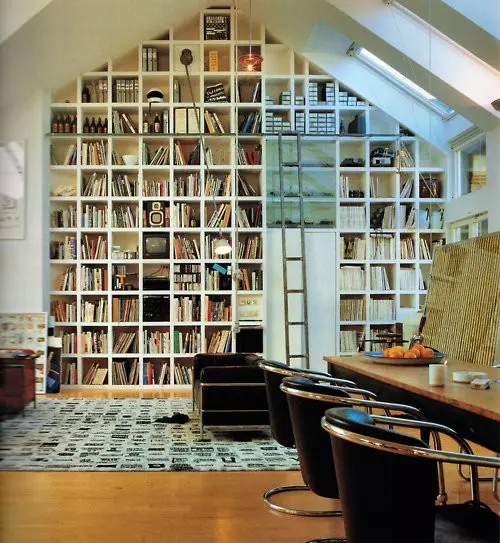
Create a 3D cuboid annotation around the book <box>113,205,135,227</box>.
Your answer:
[{"bbox_3d":[-1.557,-0.642,7.173,0.260,0.381,0.276,0,1,-1],"label":"book"}]

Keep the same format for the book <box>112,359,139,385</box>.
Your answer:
[{"bbox_3d":[-1.522,1.202,7.115,0.245,0.330,0.112,0,1,-10],"label":"book"}]

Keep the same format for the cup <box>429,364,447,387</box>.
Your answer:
[{"bbox_3d":[0.716,0.399,2.300,0.091,0.088,0.068,3,-3,-8],"label":"cup"}]

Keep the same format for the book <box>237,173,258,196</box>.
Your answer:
[{"bbox_3d":[-0.077,-1.044,7.246,0.065,0.292,0.286,-10,-4,13],"label":"book"}]

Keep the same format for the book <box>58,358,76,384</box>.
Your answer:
[{"bbox_3d":[-2.192,1.195,7.060,0.057,0.253,0.248,2,0,-5],"label":"book"}]

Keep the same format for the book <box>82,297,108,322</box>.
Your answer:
[{"bbox_3d":[-1.897,0.470,7.079,0.353,0.261,0.137,0,-3,1],"label":"book"}]

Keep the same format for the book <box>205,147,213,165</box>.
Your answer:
[{"bbox_3d":[-0.515,-1.393,7.171,0.043,0.189,0.145,0,3,19],"label":"book"}]

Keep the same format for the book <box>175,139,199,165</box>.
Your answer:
[{"bbox_3d":[-0.810,-1.439,7.292,0.297,0.313,0.078,1,-2,-14],"label":"book"}]

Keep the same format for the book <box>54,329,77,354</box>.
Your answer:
[{"bbox_3d":[-2.202,0.835,7.000,0.222,0.303,0.309,0,-2,-2],"label":"book"}]

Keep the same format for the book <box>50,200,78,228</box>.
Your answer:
[{"bbox_3d":[-2.295,-0.682,7.191,0.315,0.333,0.337,1,-3,-14],"label":"book"}]

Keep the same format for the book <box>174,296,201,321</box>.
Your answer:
[{"bbox_3d":[-0.771,0.455,7.053,0.262,0.356,0.359,0,-5,-10],"label":"book"}]

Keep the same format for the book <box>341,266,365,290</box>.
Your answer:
[{"bbox_3d":[1.217,0.093,7.236,0.335,0.345,0.251,0,-8,-2],"label":"book"}]

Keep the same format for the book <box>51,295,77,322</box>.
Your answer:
[{"bbox_3d":[-2.275,0.445,7.153,0.281,0.297,0.104,1,-4,-8],"label":"book"}]

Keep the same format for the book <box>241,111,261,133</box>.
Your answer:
[{"bbox_3d":[0.004,-1.781,7.161,0.085,0.298,0.214,15,-18,-22],"label":"book"}]

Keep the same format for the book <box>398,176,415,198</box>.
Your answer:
[{"bbox_3d":[1.933,-1.032,7.255,0.057,0.239,0.173,10,-1,-38],"label":"book"}]

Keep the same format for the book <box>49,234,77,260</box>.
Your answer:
[{"bbox_3d":[-2.268,-0.261,7.066,0.249,0.354,0.344,-1,-1,-6],"label":"book"}]

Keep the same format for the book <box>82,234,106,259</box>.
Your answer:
[{"bbox_3d":[-1.902,-0.270,7.114,0.283,0.309,0.109,-1,-7,-6],"label":"book"}]

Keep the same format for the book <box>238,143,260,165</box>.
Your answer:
[{"bbox_3d":[-0.023,-1.387,7.239,0.252,0.335,0.339,0,-1,-3],"label":"book"}]

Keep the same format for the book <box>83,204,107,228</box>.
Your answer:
[{"bbox_3d":[-1.908,-0.644,7.159,0.253,0.349,0.349,0,-1,-3],"label":"book"}]

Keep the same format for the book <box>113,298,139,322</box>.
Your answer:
[{"bbox_3d":[-1.516,0.457,7.058,0.310,0.275,0.109,1,-3,-12],"label":"book"}]

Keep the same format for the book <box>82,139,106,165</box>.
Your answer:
[{"bbox_3d":[-1.921,-1.427,7.167,0.269,0.370,0.370,0,-2,-10],"label":"book"}]

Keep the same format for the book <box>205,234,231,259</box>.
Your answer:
[{"bbox_3d":[-0.373,-0.318,6.856,0.317,0.311,0.870,0,-2,-6],"label":"book"}]

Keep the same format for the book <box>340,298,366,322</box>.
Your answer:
[{"bbox_3d":[1.239,0.459,7.104,0.238,0.336,0.339,0,-1,8],"label":"book"}]

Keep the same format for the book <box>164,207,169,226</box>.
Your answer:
[{"bbox_3d":[-1.035,-0.669,7.155,0.066,0.200,0.204,0,-7,-7],"label":"book"}]

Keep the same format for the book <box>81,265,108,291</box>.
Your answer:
[{"bbox_3d":[-1.906,0.082,7.081,0.261,0.360,0.359,0,-1,-13],"label":"book"}]

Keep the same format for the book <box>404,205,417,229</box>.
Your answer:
[{"bbox_3d":[1.961,-0.657,7.232,0.078,0.228,0.213,6,8,-15],"label":"book"}]

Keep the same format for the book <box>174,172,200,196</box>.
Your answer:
[{"bbox_3d":[-0.785,-1.031,7.169,0.256,0.342,0.350,0,2,-10],"label":"book"}]

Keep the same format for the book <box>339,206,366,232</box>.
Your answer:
[{"bbox_3d":[1.255,-0.646,7.200,0.256,0.351,0.363,0,1,6],"label":"book"}]

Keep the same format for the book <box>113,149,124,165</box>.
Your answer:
[{"bbox_3d":[-1.681,-1.410,7.316,0.181,0.227,0.175,1,7,5],"label":"book"}]

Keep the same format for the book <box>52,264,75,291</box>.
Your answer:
[{"bbox_3d":[-2.257,0.074,7.113,0.281,0.296,0.077,-2,-9,40],"label":"book"}]

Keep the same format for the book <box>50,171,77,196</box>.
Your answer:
[{"bbox_3d":[-2.346,-1.062,7.284,0.316,0.350,0.307,-1,7,-26],"label":"book"}]

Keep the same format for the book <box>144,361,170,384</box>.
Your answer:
[{"bbox_3d":[-1.142,1.225,7.075,0.241,0.331,0.336,0,-1,-5],"label":"book"}]

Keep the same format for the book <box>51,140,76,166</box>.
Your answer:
[{"bbox_3d":[-2.356,-1.433,7.322,0.310,0.333,0.078,-4,-9,34],"label":"book"}]

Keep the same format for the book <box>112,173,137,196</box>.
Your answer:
[{"bbox_3d":[-1.577,-1.059,7.233,0.285,0.295,0.092,1,-8,-21],"label":"book"}]

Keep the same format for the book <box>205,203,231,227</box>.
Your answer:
[{"bbox_3d":[-0.378,-0.663,7.141,0.280,0.294,0.069,0,-5,5],"label":"book"}]

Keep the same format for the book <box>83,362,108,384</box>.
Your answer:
[{"bbox_3d":[-1.883,1.231,7.050,0.223,0.305,0.311,2,-5,-1],"label":"book"}]

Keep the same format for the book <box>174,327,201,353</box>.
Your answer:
[{"bbox_3d":[-0.770,0.835,7.049,0.255,0.357,0.350,0,-4,-3],"label":"book"}]

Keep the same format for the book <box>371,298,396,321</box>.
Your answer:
[{"bbox_3d":[1.611,0.409,7.156,0.237,0.323,0.332,0,-1,2],"label":"book"}]

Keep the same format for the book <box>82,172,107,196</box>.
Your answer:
[{"bbox_3d":[-1.916,-1.051,7.212,0.293,0.305,0.104,1,-5,11],"label":"book"}]

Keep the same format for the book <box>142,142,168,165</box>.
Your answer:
[{"bbox_3d":[-1.193,-1.426,7.313,0.304,0.303,0.076,0,3,-12],"label":"book"}]

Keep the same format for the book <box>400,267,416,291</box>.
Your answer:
[{"bbox_3d":[1.923,0.080,7.201,0.232,0.335,0.235,0,-2,-2],"label":"book"}]

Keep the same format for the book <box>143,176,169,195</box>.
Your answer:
[{"bbox_3d":[-1.188,-0.994,7.263,0.296,0.299,0.206,0,-5,-5],"label":"book"}]

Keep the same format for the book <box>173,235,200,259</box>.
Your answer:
[{"bbox_3d":[-0.810,-0.258,7.186,0.334,0.329,0.243,0,-2,-40],"label":"book"}]

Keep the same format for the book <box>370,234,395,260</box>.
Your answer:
[{"bbox_3d":[1.620,-0.281,7.381,0.357,0.358,0.264,0,-5,3],"label":"book"}]

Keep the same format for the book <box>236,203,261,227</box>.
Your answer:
[{"bbox_3d":[0.019,-0.676,7.191,0.276,0.292,0.067,-1,-4,28],"label":"book"}]

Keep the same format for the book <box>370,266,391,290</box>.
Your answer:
[{"bbox_3d":[1.576,0.085,7.231,0.254,0.376,0.268,0,-4,0],"label":"book"}]

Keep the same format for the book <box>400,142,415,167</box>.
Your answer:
[{"bbox_3d":[1.924,-1.402,7.228,0.080,0.274,0.205,-24,-16,27],"label":"book"}]

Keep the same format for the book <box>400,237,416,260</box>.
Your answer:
[{"bbox_3d":[1.940,-0.274,7.234,0.186,0.260,0.079,-1,4,13],"label":"book"}]

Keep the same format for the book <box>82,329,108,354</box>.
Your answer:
[{"bbox_3d":[-1.856,0.821,7.135,0.325,0.344,0.249,0,-1,6],"label":"book"}]

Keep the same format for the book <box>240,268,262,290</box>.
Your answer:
[{"bbox_3d":[0.012,0.095,7.115,0.258,0.247,0.059,-3,-3,11],"label":"book"}]

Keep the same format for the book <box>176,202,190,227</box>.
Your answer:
[{"bbox_3d":[-0.817,-0.678,7.325,0.218,0.413,0.300,0,0,-3],"label":"book"}]

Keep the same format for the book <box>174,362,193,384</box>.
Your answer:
[{"bbox_3d":[-0.822,1.210,7.041,0.221,0.301,0.303,2,-2,-12],"label":"book"}]

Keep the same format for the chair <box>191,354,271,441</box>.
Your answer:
[{"bbox_3d":[-0.177,0.994,5.094,0.572,0.469,1.122,1,-2,-8],"label":"chair"}]

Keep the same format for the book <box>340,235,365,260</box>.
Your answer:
[{"bbox_3d":[1.280,-0.246,7.304,0.344,0.333,0.249,-1,-6,15],"label":"book"}]

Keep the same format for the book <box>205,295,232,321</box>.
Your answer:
[{"bbox_3d":[-0.404,0.447,7.117,0.307,0.300,0.179,0,-3,-5],"label":"book"}]

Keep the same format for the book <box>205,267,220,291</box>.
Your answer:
[{"bbox_3d":[-0.486,0.094,7.079,0.203,0.291,0.210,1,-1,-6],"label":"book"}]

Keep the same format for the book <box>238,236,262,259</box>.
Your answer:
[{"bbox_3d":[-0.016,-0.278,7.088,0.282,0.255,0.101,0,-3,-2],"label":"book"}]

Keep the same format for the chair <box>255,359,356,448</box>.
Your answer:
[{"bbox_3d":[0.192,0.607,2.766,0.453,0.511,0.409,0,-2,-12],"label":"chair"}]
